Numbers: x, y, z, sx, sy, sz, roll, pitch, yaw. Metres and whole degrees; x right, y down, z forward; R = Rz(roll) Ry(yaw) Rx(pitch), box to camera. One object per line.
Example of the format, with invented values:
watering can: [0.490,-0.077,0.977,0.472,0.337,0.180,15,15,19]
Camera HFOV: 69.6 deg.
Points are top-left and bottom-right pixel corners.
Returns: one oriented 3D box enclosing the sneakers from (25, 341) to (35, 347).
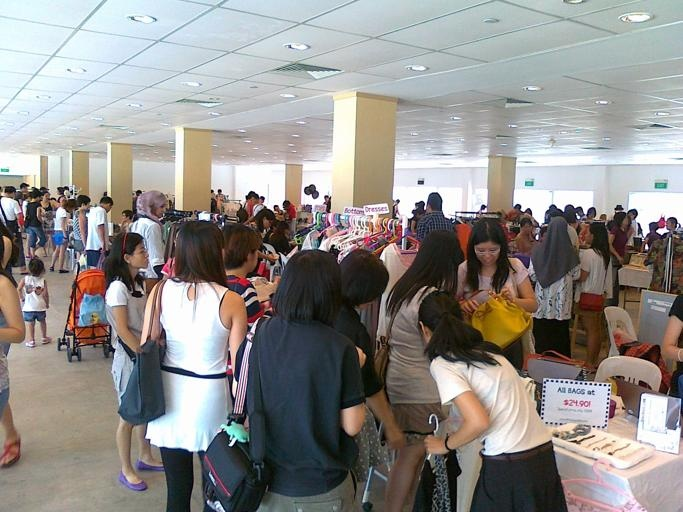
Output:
sneakers: [-3.989,1.114,6.263,0.072,0.096,0.193,-3,10,-45]

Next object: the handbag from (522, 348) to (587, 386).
handbag: [1.311,0.688,3.011,0.338,0.131,0.589,3,7,24]

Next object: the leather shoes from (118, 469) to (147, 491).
leather shoes: [-1.497,1.589,3.519,0.193,0.082,0.098,2,-1,34]

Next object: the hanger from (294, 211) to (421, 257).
hanger: [0.066,-0.209,4.376,0.747,0.353,0.528,8,11,43]

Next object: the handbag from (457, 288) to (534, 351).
handbag: [1.030,0.424,3.263,0.415,0.328,0.170,44,-4,27]

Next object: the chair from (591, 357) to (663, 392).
chair: [1.891,0.764,3.249,0.366,0.188,0.137,5,7,37]

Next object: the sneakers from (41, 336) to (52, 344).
sneakers: [-3.852,1.097,6.413,0.051,0.071,0.160,1,10,9]

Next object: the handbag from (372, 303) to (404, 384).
handbag: [0.262,0.522,2.916,0.139,0.440,0.361,1,6,4]

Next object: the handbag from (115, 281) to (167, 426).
handbag: [-1.019,0.489,2.500,0.236,0.720,0.121,-2,6,-24]

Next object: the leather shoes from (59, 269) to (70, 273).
leather shoes: [-6.377,0.335,11.220,0.153,0.075,0.072,-4,12,-31]
